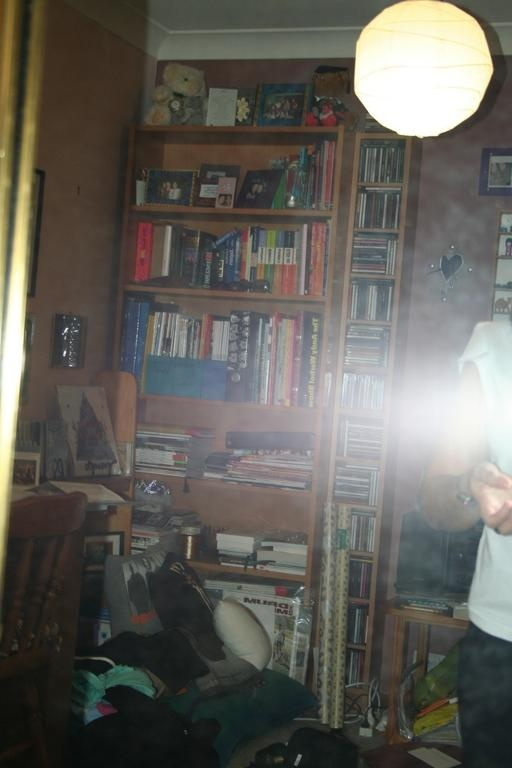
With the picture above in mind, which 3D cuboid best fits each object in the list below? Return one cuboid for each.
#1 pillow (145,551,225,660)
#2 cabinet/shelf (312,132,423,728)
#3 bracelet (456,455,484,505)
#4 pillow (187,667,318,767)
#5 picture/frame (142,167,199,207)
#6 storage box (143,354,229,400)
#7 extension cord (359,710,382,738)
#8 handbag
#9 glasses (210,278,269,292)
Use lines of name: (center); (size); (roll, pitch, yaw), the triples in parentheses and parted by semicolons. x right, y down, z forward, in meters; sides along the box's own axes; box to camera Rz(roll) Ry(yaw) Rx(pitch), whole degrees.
pillow: (-0.296, 0.870, 2.457); (0.210, 0.382, 0.109); (-23, -5, -38)
cabinet/shelf: (0.433, 0.133, 2.636); (0.348, 2.497, 0.439); (6, 0, 11)
bracelet: (0.286, 0.132, 0.858); (0.020, 0.058, 0.042); (10, 3, 18)
pillow: (-0.014, 1.186, 2.303); (0.193, 0.150, 0.612); (6, 1, 36)
picture/frame: (-0.388, -0.894, 2.779); (0.197, 0.154, 0.048); (1, 1, 3)
storage box: (-0.305, -0.023, 2.841); (0.376, 0.189, 0.086); (4, -2, 10)
extension cord: (0.452, 1.322, 2.473); (0.057, 0.105, 0.140); (6, 0, 27)
handbag: (-0.293, 0.820, 2.418); (0.199, 0.268, 0.078); (-12, -20, -49)
glasses: (-0.073, -0.433, 2.744); (0.259, 0.058, 0.066); (6, 1, 23)
